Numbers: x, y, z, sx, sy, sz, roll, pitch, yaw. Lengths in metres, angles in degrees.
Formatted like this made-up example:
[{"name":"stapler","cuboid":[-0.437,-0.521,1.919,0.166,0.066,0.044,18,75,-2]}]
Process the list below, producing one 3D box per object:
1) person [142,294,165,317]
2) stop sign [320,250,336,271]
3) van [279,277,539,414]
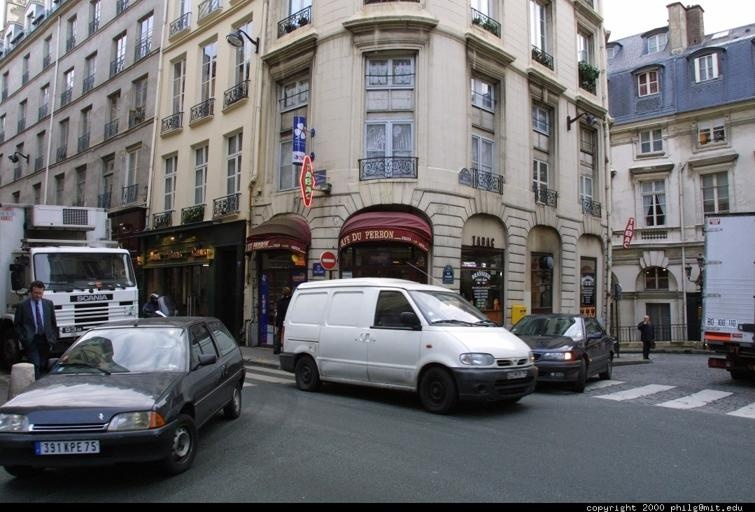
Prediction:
[{"name":"person","cuboid":[-6.895,1.584,19.361,0.584,0.751,1.626,-1,5,-19]},{"name":"stop sign","cuboid":[-1.600,0.144,20.291,0.458,0.563,0.444,0,5,-12]},{"name":"van","cuboid":[0.674,2.087,14.957,5.384,2.469,2.735,-6,-9,39]}]
